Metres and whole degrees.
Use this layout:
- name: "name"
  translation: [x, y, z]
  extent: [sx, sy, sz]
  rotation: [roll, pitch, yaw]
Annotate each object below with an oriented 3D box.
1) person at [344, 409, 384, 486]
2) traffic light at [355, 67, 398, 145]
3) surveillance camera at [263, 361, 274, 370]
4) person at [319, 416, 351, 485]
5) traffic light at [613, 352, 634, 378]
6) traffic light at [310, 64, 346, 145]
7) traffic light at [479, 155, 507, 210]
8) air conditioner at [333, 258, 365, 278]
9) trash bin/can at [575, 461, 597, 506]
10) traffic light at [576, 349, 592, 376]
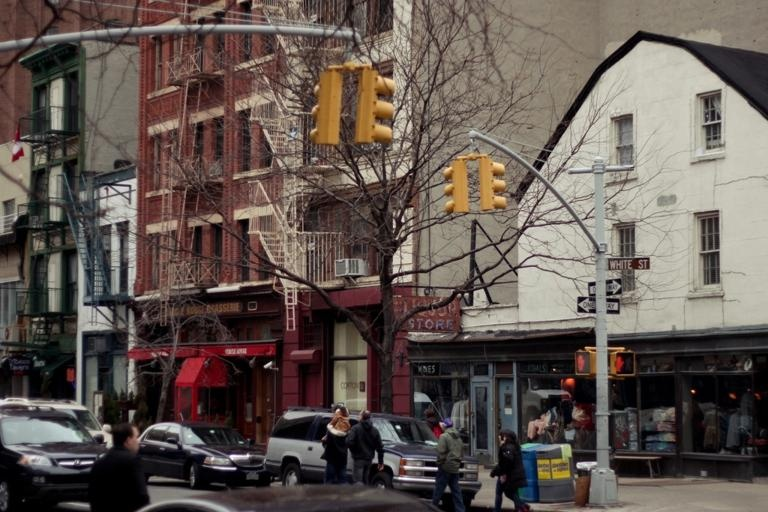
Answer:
- name: "person"
  translation: [-0.529, 5.559, 42.073]
  extent: [1.026, 2.051, 0.522]
  rotation: [2, -10, -7]
- name: "traffic light"
  translation: [-0.190, -3.573, 35.016]
  extent: [0.815, 2.039, 0.979]
  rotation: [0, 2, -1]
- name: "surveillance camera"
  translation: [-4.519, 4.419, 57.372]
  extent: [0.375, 0.409, 0.379]
  rotation: [-8, 1, 4]
- name: "person"
  translation: [-1.337, 5.625, 42.579]
  extent: [1.013, 2.036, 0.977]
  rotation: [-3, 2, -31]
- name: "traffic light"
  translation: [7.070, 3.271, 43.175]
  extent: [0.686, 0.832, 0.435]
  rotation: [2, -3, -20]
- name: "traffic light"
  translation: [-1.325, -3.640, 34.725]
  extent: [0.585, 1.905, 0.415]
  rotation: [2, -10, -7]
- name: "traffic light"
  translation: [3.015, -2.002, 40.560]
  extent: [0.716, 1.582, 0.812]
  rotation: [0, -10, 2]
- name: "air conditioner"
  translation: [-1.182, 0.442, 53.826]
  extent: [1.151, 0.607, 0.622]
  rotation: [0, -10, 3]
- name: "trash bin/can"
  translation: [5.951, 6.822, 43.012]
  extent: [0.609, 1.308, 1.220]
  rotation: [-1, -10, 7]
- name: "traffic light"
  translation: [5.980, 3.222, 43.410]
  extent: [0.573, 0.741, 0.398]
  rotation: [-2, -10, 15]
